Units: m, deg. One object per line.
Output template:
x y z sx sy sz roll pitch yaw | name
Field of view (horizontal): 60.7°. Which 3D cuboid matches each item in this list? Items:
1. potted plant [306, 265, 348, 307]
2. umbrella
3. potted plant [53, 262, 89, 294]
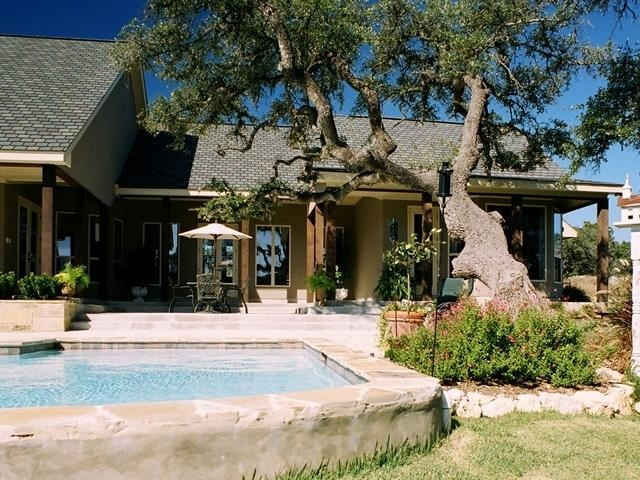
0.223 1.261 15.894 1.164 1.366 0.992 4 2 -20 | potted plant
-3.562 0.222 18.139 1.597 1.228 1.604 -1 -3 -7 | umbrella
-6.065 0.929 13.353 0.693 0.840 0.766 1 -4 19 | potted plant
